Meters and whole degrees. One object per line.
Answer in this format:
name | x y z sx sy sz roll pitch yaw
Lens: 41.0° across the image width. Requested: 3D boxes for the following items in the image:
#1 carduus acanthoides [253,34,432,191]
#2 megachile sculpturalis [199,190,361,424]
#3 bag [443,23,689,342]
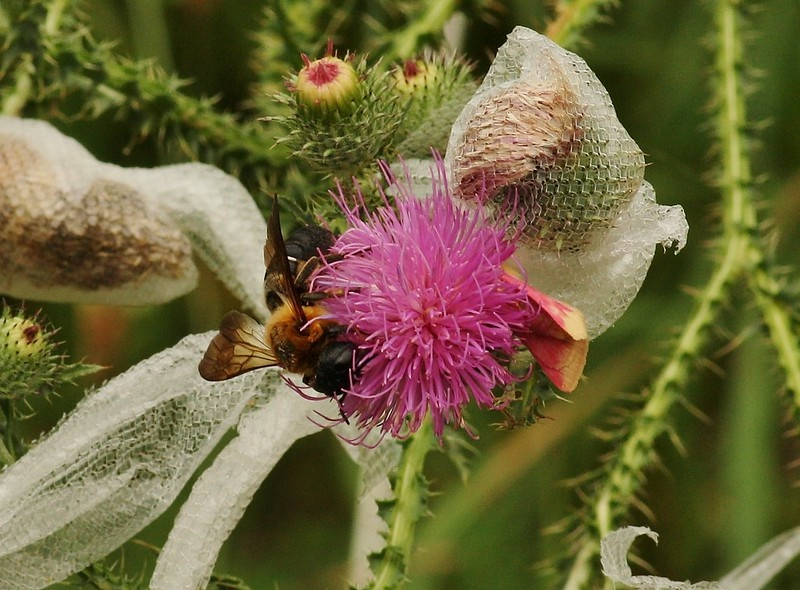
carduus acanthoides | -0.111 -0.300 1.820 0.220 0.235 0.233 -20 15 -28
megachile sculpturalis | -0.167 0.064 1.663 0.318 0.104 0.237 24 85 50
bag | 0.280 -0.178 1.685 0.460 0.369 0.181 26 3 -24
